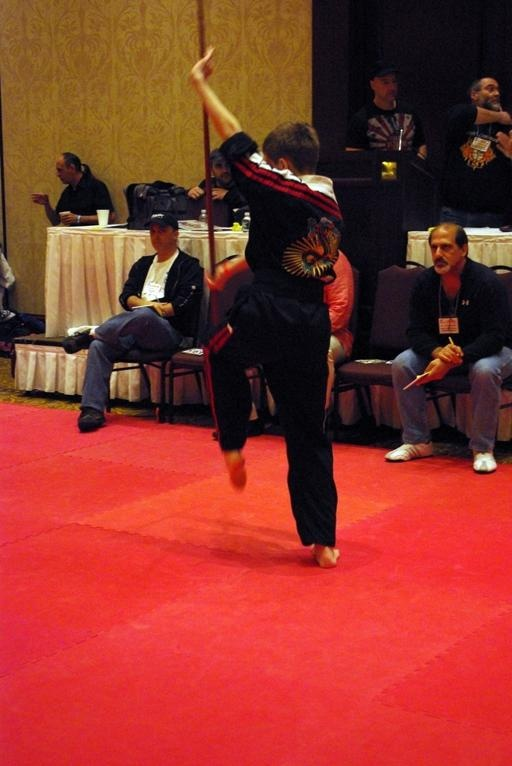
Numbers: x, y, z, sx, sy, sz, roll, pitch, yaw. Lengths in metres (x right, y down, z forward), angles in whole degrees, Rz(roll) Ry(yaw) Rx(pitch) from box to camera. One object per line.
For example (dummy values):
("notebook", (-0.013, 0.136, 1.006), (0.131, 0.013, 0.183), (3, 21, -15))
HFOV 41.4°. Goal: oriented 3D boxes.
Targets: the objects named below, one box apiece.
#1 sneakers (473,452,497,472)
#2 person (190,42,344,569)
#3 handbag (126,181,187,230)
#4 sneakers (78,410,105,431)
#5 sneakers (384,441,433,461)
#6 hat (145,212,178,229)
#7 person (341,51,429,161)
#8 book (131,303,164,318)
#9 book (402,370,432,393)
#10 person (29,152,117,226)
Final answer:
("sneakers", (1.378, 0.484, 4.095), (0.140, 0.106, 0.158), (1, 2, 9))
("person", (0.055, -0.138, 2.342), (0.455, 1.741, 0.723), (1, 3, 7))
("handbag", (-0.971, -1.739, 6.745), (0.626, 0.542, 0.374), (-1, 13, -27))
("sneakers", (-1.247, 0.289, 5.171), (0.262, 0.158, 0.175), (-1, 3, -35))
("sneakers", (0.976, 0.433, 4.368), (0.324, 0.118, 0.114), (-5, -4, -7))
("hat", (-0.747, -1.353, 5.568), (0.159, 0.100, 0.216), (0, 2, 21))
("person", (1.240, -2.442, 6.083), (0.745, 0.806, 0.356), (-1, 3, -22))
("book", (-0.877, -0.558, 5.449), (0.131, 0.113, 0.180), (-8, -7, 44))
("book", (1.016, -0.007, 4.196), (0.220, 0.069, 0.071), (-34, 2, -19))
("person", (-2.289, -2.165, 8.763), (0.970, 1.396, 0.718), (3, 9, 22))
